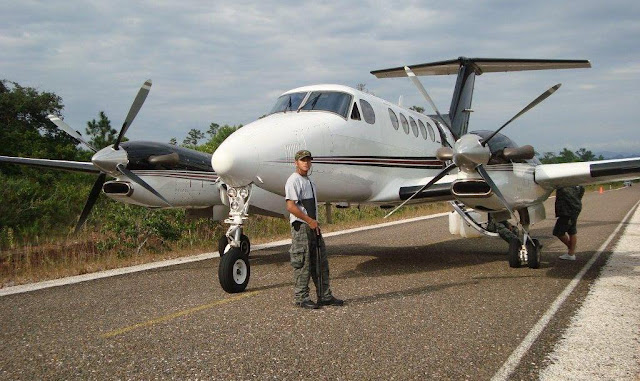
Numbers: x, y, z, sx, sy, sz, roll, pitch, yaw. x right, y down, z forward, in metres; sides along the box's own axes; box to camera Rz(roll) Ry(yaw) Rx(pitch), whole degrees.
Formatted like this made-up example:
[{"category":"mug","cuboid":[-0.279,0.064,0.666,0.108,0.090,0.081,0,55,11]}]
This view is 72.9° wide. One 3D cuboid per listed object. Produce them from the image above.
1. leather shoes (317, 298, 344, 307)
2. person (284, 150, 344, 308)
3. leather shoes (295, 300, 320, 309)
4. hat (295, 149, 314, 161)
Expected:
[{"category":"leather shoes","cuboid":[0.198,2.113,8.329,0.523,0.188,0.174,-3,-5,0]},{"category":"person","cuboid":[-0.204,0.753,8.245,0.821,2.951,0.965,-3,14,-5]},{"category":"leather shoes","cuboid":[-0.245,2.126,8.140,0.435,0.156,0.167,-1,-7,8]},{"category":"hat","cuboid":[-0.348,-0.708,8.634,0.443,0.193,0.585,1,-1,-7]}]
